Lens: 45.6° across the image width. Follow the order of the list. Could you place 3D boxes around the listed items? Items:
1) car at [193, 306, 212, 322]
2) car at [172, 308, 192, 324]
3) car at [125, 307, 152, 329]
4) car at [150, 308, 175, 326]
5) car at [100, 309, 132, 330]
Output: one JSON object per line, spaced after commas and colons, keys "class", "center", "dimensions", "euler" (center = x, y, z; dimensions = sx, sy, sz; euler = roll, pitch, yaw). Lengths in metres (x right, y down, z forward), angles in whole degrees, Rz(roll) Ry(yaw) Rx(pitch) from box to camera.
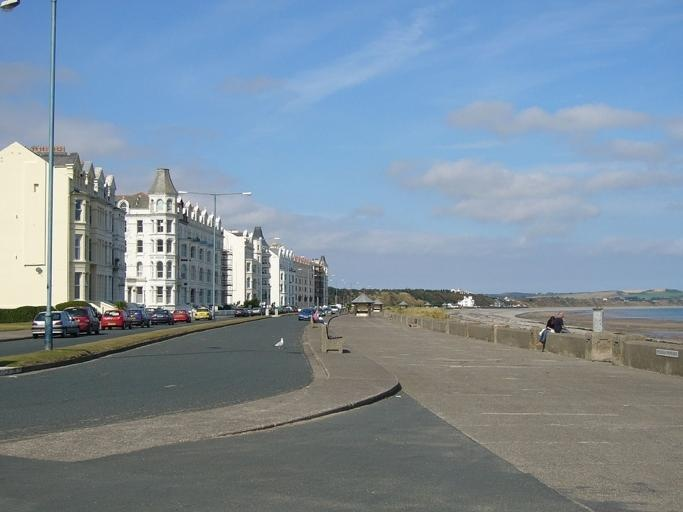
{"class": "car", "center": [-14.453, 6.117, 84.646], "dimensions": [1.641, 1.200, 1.813], "euler": [0, -5, -6]}
{"class": "car", "center": [-15.537, 5.904, 79.060], "dimensions": [1.319, 0.770, 2.570], "euler": [0, 1, -3]}
{"class": "car", "center": [-15.990, 4.808, 63.333], "dimensions": [1.423, 0.989, 2.733], "euler": [0, -8, -2]}
{"class": "car", "center": [-15.638, 5.278, 70.225], "dimensions": [1.794, 1.279, 1.918], "euler": [1, -5, -14]}
{"class": "car", "center": [-16.059, 4.501, 57.529], "dimensions": [1.321, 0.874, 2.128], "euler": [-1, 2, -2]}
